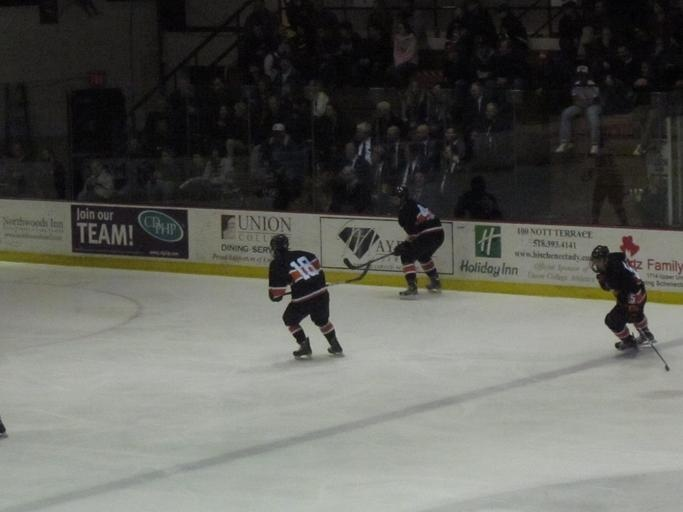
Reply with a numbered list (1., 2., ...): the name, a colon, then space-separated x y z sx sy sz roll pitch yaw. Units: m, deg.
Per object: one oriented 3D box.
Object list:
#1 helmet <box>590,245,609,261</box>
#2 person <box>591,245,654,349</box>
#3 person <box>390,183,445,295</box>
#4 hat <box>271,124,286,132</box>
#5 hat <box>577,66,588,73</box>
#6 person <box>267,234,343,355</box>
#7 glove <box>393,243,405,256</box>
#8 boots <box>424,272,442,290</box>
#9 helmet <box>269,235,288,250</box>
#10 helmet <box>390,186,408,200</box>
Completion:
1. helmet: 2.907 -0.043 9.678 0.221 0.198 0.169 1 -10 -6
2. person: 3.149 0.482 9.672 0.677 1.180 0.320 2 13 18
3. person: 1.108 -0.114 12.470 0.716 1.385 0.328 -2 12 1
4. hat: -1.031 -2.086 14.015 0.228 0.126 0.080 -1 12 3
5. hat: 3.659 -2.849 13.089 0.193 0.093 0.267 -1 3 4
6. person: -0.415 0.464 9.839 0.803 1.391 0.469 -2 12 -2
7. glove: 0.834 -0.100 12.399 0.146 0.149 0.207 18 6 -1
8. boots: 1.355 0.373 12.656 0.150 0.303 0.315 -13 20 -22
9. helmet: -0.710 -0.160 9.864 0.167 0.178 0.197 -3 13 -28
10. helmet: 0.877 -0.925 12.673 0.186 0.128 0.249 3 14 4
